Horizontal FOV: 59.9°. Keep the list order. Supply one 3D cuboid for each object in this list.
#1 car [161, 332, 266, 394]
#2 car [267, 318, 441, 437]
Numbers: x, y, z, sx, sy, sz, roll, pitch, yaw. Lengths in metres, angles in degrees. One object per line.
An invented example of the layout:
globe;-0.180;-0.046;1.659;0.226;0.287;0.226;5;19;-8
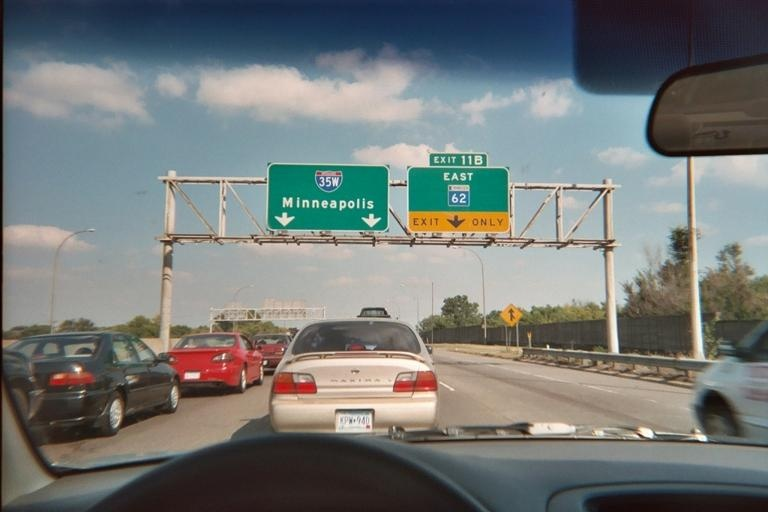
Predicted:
car;-3.387;2.253;14.376;1.043;0.783;2.352;-1;-6;6
car;-0.355;1.491;8.487;1.341;1.098;2.562;-1;-16;0
